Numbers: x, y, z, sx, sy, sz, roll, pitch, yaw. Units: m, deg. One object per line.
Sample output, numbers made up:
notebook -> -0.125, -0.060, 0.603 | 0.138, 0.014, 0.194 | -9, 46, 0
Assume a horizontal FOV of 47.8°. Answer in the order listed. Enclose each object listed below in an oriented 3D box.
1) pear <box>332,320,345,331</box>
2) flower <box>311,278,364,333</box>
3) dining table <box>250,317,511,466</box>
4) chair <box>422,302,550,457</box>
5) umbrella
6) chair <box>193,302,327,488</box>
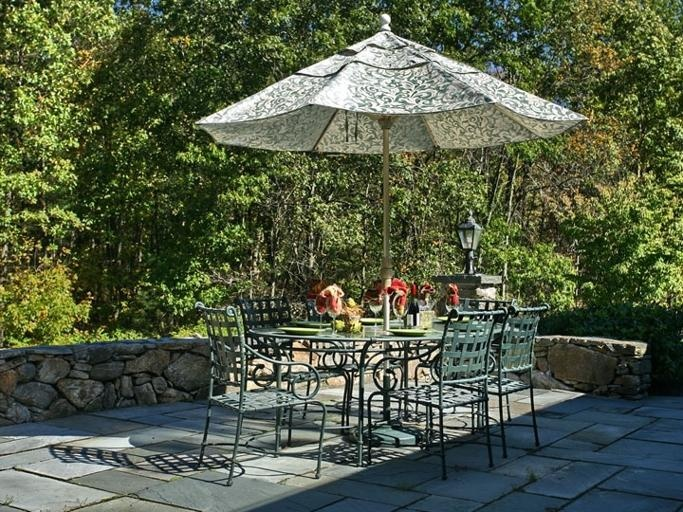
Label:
pear -> -0.024, 0.601, 6.687 | 0.104, 0.063, 0.101 | 0, 0, 0
flower -> -0.063, 0.443, 6.789 | 0.478, 0.522, 0.431 | -7, -5, 8
dining table -> 0.500, 1.051, 6.877 | 1.356, 0.798, 1.762 | 2, -2, -34
chair -> 1.569, 0.963, 7.426 | 1.117, 1.706, 1.260 | -2, 2, -44
umbrella -> 0.497, -0.921, 7.286 | 2.911, 1.892, 2.638 | -1, 11, 22
chair -> -0.672, 1.120, 6.482 | 1.153, 1.266, 0.954 | 3, -2, -13
